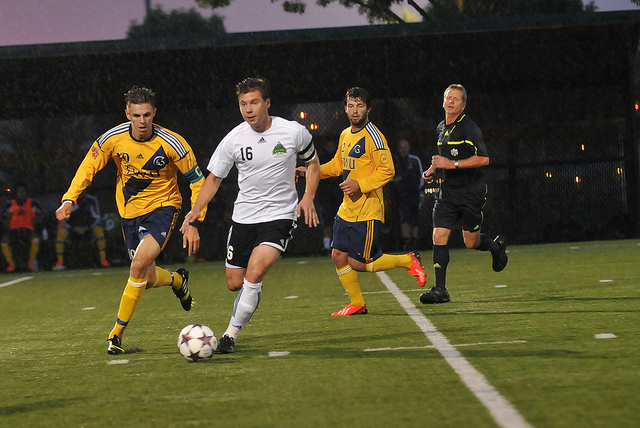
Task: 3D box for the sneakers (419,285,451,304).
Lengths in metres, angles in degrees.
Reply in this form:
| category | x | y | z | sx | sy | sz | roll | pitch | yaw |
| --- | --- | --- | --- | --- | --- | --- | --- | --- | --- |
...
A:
| category | x | y | z | sx | sy | sz | roll | pitch | yaw |
| --- | --- | --- | --- | --- | --- | --- | --- | --- | --- |
| sneakers | 1.438 | 1.020 | 9.239 | 0.420 | 0.214 | 0.164 | 1 | -5 | -14 |

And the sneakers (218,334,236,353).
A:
| category | x | y | z | sx | sy | sz | roll | pitch | yaw |
| --- | --- | --- | --- | --- | --- | --- | --- | --- | --- |
| sneakers | -0.963 | 1.322 | 7.617 | 0.221 | 0.186 | 0.130 | -7 | 7 | -29 |

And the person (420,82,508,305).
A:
| category | x | y | z | sx | sy | sz | roll | pitch | yaw |
| --- | --- | --- | --- | --- | --- | --- | --- | --- | --- |
| person | 1.791 | -0.288 | 9.599 | 0.996 | 2.762 | 1.364 | -2 | 6 | 14 |

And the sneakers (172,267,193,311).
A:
| category | x | y | z | sx | sy | sz | roll | pitch | yaw |
| --- | --- | --- | --- | --- | --- | --- | --- | --- | --- |
| sneakers | -1.739 | 1.002 | 9.424 | 0.248 | 0.612 | 0.203 | -1 | 24 | 12 |

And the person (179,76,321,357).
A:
| category | x | y | z | sx | sy | sz | roll | pitch | yaw |
| --- | --- | --- | --- | --- | --- | --- | --- | --- | --- |
| person | -0.646 | -0.033 | 7.803 | 1.313 | 2.798 | 0.723 | -4 | 6 | -2 |

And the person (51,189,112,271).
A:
| category | x | y | z | sx | sy | sz | roll | pitch | yaw |
| --- | --- | --- | --- | --- | --- | --- | --- | --- | --- |
| person | -5.136 | 0.212 | 15.964 | 1.358 | 1.206 | 2.510 | -6 | -33 | -26 |

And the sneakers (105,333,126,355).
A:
| category | x | y | z | sx | sy | sz | roll | pitch | yaw |
| --- | --- | --- | --- | --- | --- | --- | --- | --- | --- |
| sneakers | -2.126 | 1.348 | 7.734 | 0.167 | 0.186 | 0.195 | -6 | 7 | -22 |

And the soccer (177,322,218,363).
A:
| category | x | y | z | sx | sy | sz | roll | pitch | yaw |
| --- | --- | --- | --- | --- | --- | --- | --- | --- | --- |
| soccer | -1.203 | 1.270 | 7.346 | 0.340 | 0.355 | 0.334 | -4 | -10 | -1 |

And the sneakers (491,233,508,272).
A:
| category | x | y | z | sx | sy | sz | roll | pitch | yaw |
| --- | --- | --- | --- | --- | --- | --- | --- | --- | --- |
| sneakers | 2.440 | 0.573 | 10.250 | 0.193 | 0.551 | 0.230 | 9 | 18 | 36 |

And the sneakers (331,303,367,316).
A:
| category | x | y | z | sx | sy | sz | roll | pitch | yaw |
| --- | --- | --- | --- | --- | --- | --- | --- | --- | --- |
| sneakers | 0.356 | 1.174 | 9.123 | 0.443 | 0.195 | 0.159 | -1 | -10 | -5 |
